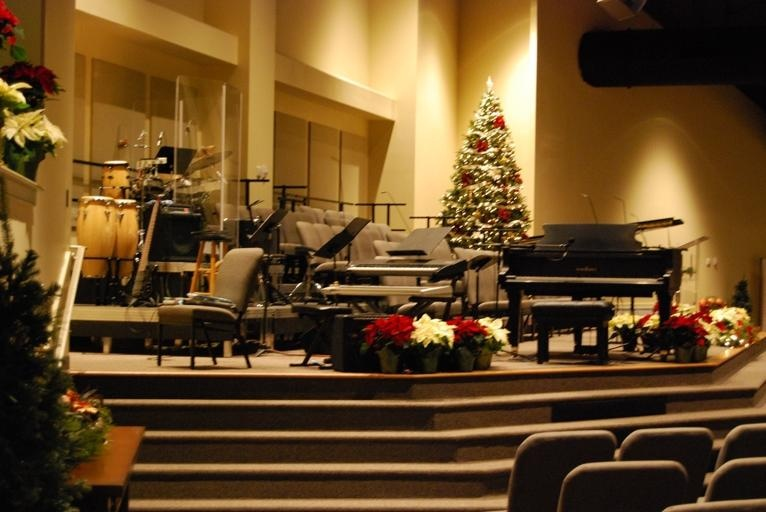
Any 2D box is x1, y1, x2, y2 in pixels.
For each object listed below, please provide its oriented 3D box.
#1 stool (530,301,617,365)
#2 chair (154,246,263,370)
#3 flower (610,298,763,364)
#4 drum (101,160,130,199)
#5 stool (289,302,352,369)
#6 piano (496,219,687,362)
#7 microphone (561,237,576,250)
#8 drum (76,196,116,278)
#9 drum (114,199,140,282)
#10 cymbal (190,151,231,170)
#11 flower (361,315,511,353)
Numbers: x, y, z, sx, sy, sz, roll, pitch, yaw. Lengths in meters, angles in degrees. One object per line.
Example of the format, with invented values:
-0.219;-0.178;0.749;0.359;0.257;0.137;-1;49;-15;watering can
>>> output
1.624;0.649;5.511;0.610;0.442;0.594;-1;-7;15;stool
-1.461;0.396;5.200;0.726;0.960;1.120;6;-6;-37;chair
2.489;0.707;5.741;0.813;0.379;0.841;-4;-8;34;flower
-3.016;-0.859;7.313;0.281;0.470;0.352;4;-5;-22;drum
-0.558;0.616;5.306;0.533;0.532;0.572;3;0;-27;stool
2.090;0.292;6.414;1.143;0.986;1.523;-1;-8;20;piano
1.718;-0.112;5.913;0.119;0.125;0.095;3;-6;-18;microphone
-3.075;-0.212;6.942;0.405;0.866;0.227;3;-5;-13;drum
-2.801;-0.188;7.084;0.121;0.842;0.339;-1;-5;31;drum
-1.546;-0.857;5.830;0.350;0.195;0.086;4;-5;-19;cymbal
0.391;0.569;4.734;1.064;0.263;0.299;4;-5;-23;flower
